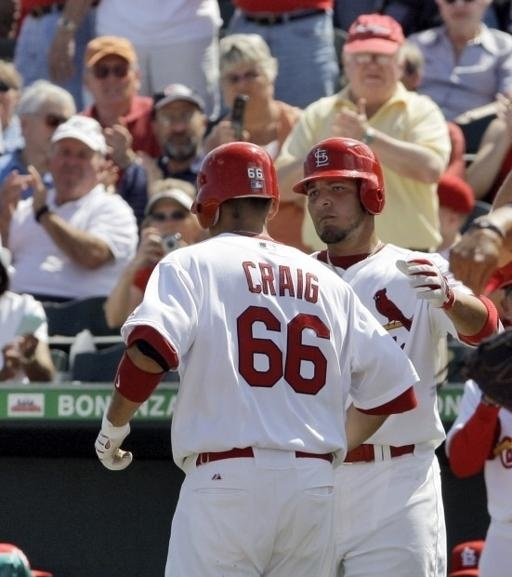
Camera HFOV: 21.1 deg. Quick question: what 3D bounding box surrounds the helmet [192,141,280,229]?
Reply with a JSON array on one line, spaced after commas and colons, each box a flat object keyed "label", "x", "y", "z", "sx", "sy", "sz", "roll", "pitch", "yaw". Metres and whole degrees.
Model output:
[{"label": "helmet", "x": -0.085, "y": -0.408, "z": 5.376, "sx": 0.291, "sy": 0.320, "sz": 0.368, "roll": 0, "pitch": -7, "yaw": -44}]

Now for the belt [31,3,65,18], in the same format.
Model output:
[{"label": "belt", "x": -1.413, "y": -1.905, "z": 9.432, "sx": 0.177, "sy": 0.046, "sz": 0.034, "roll": -9, "pitch": -31, "yaw": 27}]

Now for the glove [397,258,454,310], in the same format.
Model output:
[{"label": "glove", "x": 0.669, "y": -0.011, "z": 5.293, "sx": 0.145, "sy": 0.234, "sz": 0.076, "roll": -55, "pitch": 23, "yaw": -22}]

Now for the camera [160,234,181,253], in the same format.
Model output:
[{"label": "camera", "x": -0.433, "y": -0.236, "z": 7.205, "sx": 0.089, "sy": 0.099, "sz": 0.166, "roll": -6, "pitch": 9, "yaw": 20}]

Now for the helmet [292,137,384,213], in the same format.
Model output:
[{"label": "helmet", "x": 0.366, "y": -0.467, "z": 5.771, "sx": 0.388, "sy": 0.337, "sz": 0.353, "roll": -2, "pitch": 2, "yaw": -19}]

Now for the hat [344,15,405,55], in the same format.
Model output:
[{"label": "hat", "x": 0.640, "y": -1.358, "z": 7.465, "sx": 0.299, "sy": 0.194, "sz": 0.299, "roll": 11, "pitch": 22, "yaw": 7}]

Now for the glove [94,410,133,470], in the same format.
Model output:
[{"label": "glove", "x": -0.551, "y": 0.572, "z": 5.180, "sx": 0.156, "sy": 0.210, "sz": 0.080, "roll": -1, "pitch": 17, "yaw": -39}]

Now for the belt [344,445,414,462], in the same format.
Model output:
[{"label": "belt", "x": 0.487, "y": 0.674, "z": 5.581, "sx": 0.147, "sy": 0.054, "sz": 0.115, "roll": -5, "pitch": 0, "yaw": -10}]

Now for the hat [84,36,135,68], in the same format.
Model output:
[{"label": "hat", "x": -0.877, "y": -1.414, "z": 8.280, "sx": 0.255, "sy": 0.167, "sz": 0.356, "roll": -5, "pitch": -7, "yaw": -3}]

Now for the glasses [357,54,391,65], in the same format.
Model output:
[{"label": "glasses", "x": 0.624, "y": -1.223, "z": 7.380, "sx": 0.190, "sy": 0.072, "sz": 0.033, "roll": 7, "pitch": 21, "yaw": -3}]
